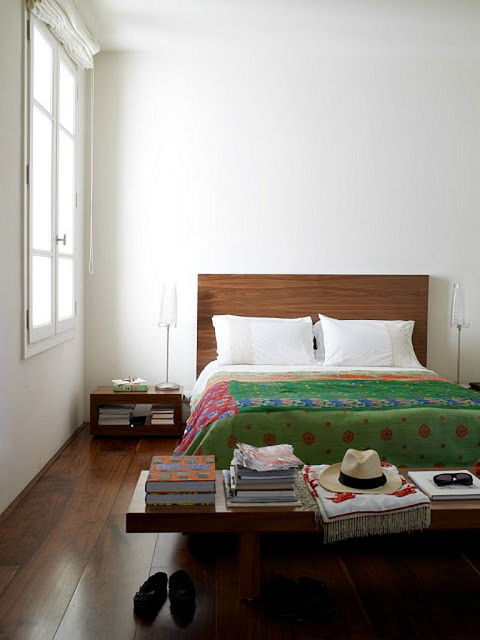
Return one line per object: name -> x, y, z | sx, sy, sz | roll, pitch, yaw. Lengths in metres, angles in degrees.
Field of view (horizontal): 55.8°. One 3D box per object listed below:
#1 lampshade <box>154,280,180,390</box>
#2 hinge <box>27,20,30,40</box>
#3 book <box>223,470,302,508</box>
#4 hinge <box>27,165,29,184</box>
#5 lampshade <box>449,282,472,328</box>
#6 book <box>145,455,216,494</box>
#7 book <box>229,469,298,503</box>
lampshade -> -0.559, 0.105, 3.573 | 0.187, 0.859, 0.338 | 1, -2, -8
hinge -> -1.060, -1.453, 2.282 | 0.011, 0.088, 0.022 | 2, -2, -25
book -> 0.042, 0.499, 1.336 | 0.131, 0.053, 0.128 | -1, 6, -32
hinge -> -1.073, -0.736, 2.307 | 0.004, 0.094, 0.013 | 1, -2, -3
lampshade -> 1.787, -0.123, 3.681 | 0.170, 0.379, 0.381 | 0, -2, 26
book -> -0.175, 0.458, 1.420 | 0.233, 0.059, 0.289 | 1, 4, -2
book -> 0.061, 0.505, 1.410 | 0.170, 0.039, 0.215 | 1, 3, -4
